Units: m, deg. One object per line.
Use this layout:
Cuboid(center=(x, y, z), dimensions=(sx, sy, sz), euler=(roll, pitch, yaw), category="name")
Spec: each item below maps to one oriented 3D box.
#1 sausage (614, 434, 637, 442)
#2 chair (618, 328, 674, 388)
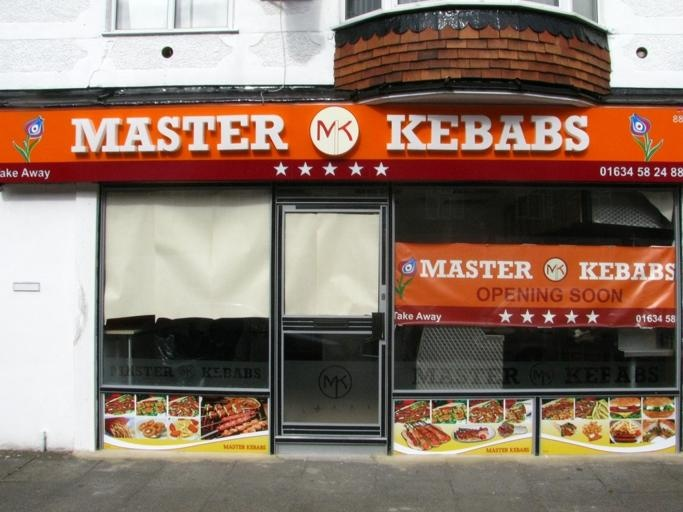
Cuboid(center=(3.633, 2.312, 13.159), dimensions=(0.238, 0.118, 0.053), euler=(-2, -10, -1), category="sausage")
Cuboid(center=(3.973, 1.318, 13.322), dimensions=(0.869, 0.822, 0.462), euler=(0, -7, 0), category="chair")
